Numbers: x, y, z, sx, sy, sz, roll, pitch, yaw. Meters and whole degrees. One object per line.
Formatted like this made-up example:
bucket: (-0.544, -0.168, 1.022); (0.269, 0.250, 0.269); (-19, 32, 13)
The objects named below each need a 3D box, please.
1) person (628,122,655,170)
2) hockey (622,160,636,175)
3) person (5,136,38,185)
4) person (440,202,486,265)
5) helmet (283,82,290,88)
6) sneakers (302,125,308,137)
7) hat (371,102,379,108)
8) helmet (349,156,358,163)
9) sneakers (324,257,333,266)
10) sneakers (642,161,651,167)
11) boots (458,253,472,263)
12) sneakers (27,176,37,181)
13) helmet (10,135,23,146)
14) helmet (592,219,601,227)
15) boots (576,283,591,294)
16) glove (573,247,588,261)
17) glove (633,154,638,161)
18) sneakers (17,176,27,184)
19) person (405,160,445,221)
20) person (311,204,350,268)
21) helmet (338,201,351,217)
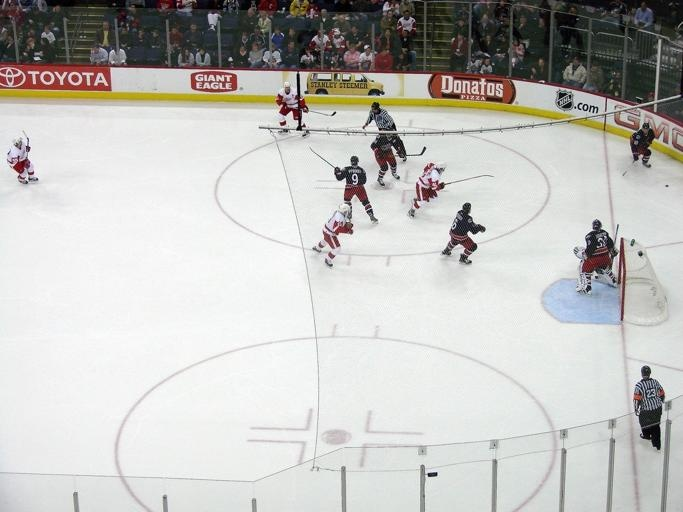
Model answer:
person: (7.509, -2.817, 24.876); (0.544, 1.144, 0.937); (5, 19, 15)
hockey: (7.224, -2.200, 24.949); (0.171, 0.076, 1.522); (34, 28, 9)
person: (-7.954, -2.336, 24.855); (0.709, 0.657, 1.248); (15, -23, -14)
person: (2.606, -0.515, 21.270); (0.834, 1.392, 0.870); (1, 19, 4)
helmet: (-1.446, -4.697, 26.944); (0.197, 0.241, 0.255); (0, 2, 1)
sneakers: (-0.945, -3.430, 27.252); (0.268, 0.106, 0.270); (5, 41, -19)
hat: (0.889, -3.837, 25.195); (0.168, 0.152, 0.212); (15, 36, 18)
helmet: (0.307, -2.185, 22.502); (0.181, 0.199, 0.214); (3, 38, 4)
sneakers: (-0.249, 0.130, 21.385); (0.108, 0.090, 0.223); (-2, 18, -21)
sneakers: (7.654, -2.318, 24.876); (0.228, 0.152, 0.100); (15, 67, 33)
boots: (2.658, 0.037, 21.380); (0.283, 0.256, 0.138); (-5, 39, 0)
sneakers: (-7.613, -1.961, 24.722); (0.193, 0.081, 0.178); (-8, -1, -29)
helmet: (-7.783, -2.782, 24.106); (0.207, 0.206, 0.329); (-4, 18, -11)
helmet: (5.348, -0.684, 20.841); (0.169, 0.206, 0.194); (-3, 21, 9)
boots: (4.940, 0.683, 20.252); (0.219, 0.259, 0.632); (-1, -3, 4)
glove: (4.866, 0.001, 20.238); (0.212, 0.273, 0.266); (-30, 30, 33)
glove: (7.412, -2.491, 24.943); (0.120, 0.146, 0.153); (30, 58, 26)
sneakers: (-7.800, -1.864, 24.530); (0.330, 0.105, 0.228); (7, -14, -35)
person: (2.012, -1.478, 23.556); (0.745, 1.471, 0.622); (9, 59, -18)
person: (-0.173, -0.521, 21.439); (0.819, 1.404, 1.032); (-1, 19, -2)
helmet: (0.105, -0.950, 21.093); (0.211, 0.379, 0.633); (1, 18, 5)
